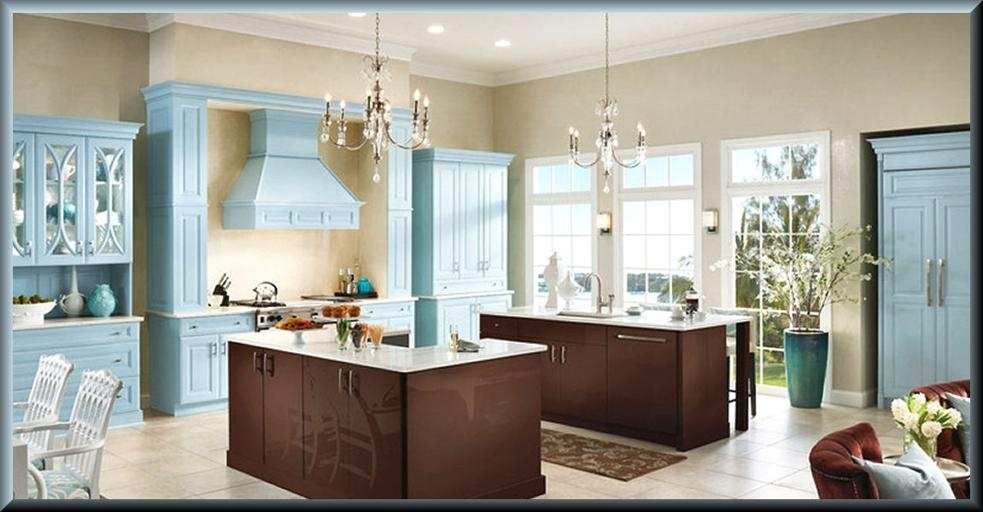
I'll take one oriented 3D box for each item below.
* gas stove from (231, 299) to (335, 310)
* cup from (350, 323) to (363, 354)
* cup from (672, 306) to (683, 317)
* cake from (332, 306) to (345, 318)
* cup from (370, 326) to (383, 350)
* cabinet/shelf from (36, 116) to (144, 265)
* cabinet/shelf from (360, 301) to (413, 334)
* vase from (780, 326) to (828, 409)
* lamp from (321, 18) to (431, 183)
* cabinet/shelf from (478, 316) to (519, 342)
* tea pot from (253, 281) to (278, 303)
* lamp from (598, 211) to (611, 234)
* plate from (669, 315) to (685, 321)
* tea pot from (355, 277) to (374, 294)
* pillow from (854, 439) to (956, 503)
[{"bbox_3d":[-3.012,0.698,8.592,1.381,0.102,0.646,-2,7,-17],"label":"gas stove"},{"bbox_3d":[-1.266,0.782,5.702,0.114,0.252,0.140,-3,11,-16],"label":"cup"},{"bbox_3d":[2.215,0.681,7.105,0.143,0.109,0.130,1,-7,0],"label":"cup"},{"bbox_3d":[-1.590,0.602,6.312,0.126,0.092,0.111,-1,-1,9],"label":"cake"},{"bbox_3d":[-1.111,0.794,5.819,0.115,0.216,0.198,-3,9,-12],"label":"cup"},{"bbox_3d":[-5.083,-0.795,7.466,1.176,1.807,0.345,-5,12,-24],"label":"cabinet/shelf"},{"bbox_3d":[-1.523,0.878,8.527,0.659,0.483,0.253,0,-2,-42],"label":"cabinet/shelf"},{"bbox_3d":[4.302,1.553,8.195,0.544,1.104,0.216,3,11,17],"label":"vase"},{"bbox_3d":[-1.356,-1.751,7.005,0.892,1.459,1.024,-12,-20,38],"label":"lamp"},{"bbox_3d":[0.109,0.971,7.993,0.372,0.396,0.521,4,-4,-43],"label":"cabinet/shelf"},{"bbox_3d":[-3.310,0.544,8.758,0.331,0.321,0.343,6,-11,1],"label":"tea pot"},{"bbox_3d":[1.910,-0.548,10.007,0.159,0.392,0.238,-10,14,-42],"label":"lamp"},{"bbox_3d":[2.211,0.743,7.014,0.162,0.053,0.098,1,8,8],"label":"plate"},{"bbox_3d":[-2.000,0.489,9.441,0.345,0.255,0.179,-1,3,-11],"label":"tea pot"},{"bbox_3d":[2.893,1.523,4.172,0.783,0.274,0.366,2,12,-40],"label":"pillow"}]
